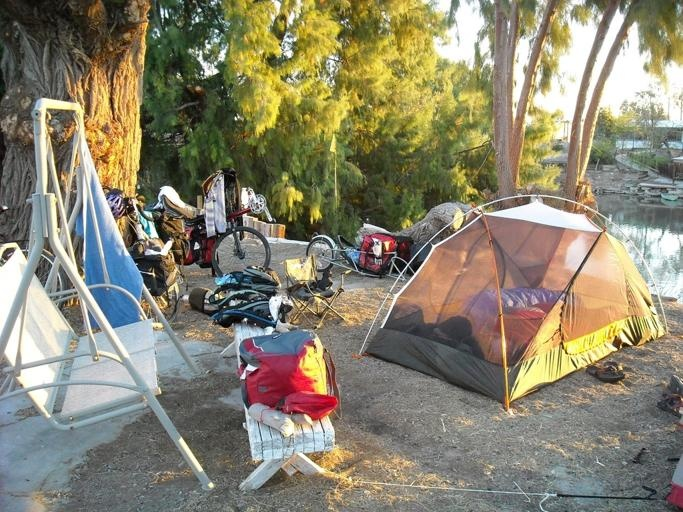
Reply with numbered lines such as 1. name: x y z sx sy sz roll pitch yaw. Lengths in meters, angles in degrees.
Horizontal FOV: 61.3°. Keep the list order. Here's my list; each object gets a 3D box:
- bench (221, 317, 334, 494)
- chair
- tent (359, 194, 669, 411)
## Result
1. bench: -0.556 1.427 5.340 0.792 0.955 1.088 0 14 -12
2. chair: -0.377 0.493 8.275 0.783 0.974 0.753 -6 10 -17
3. tent: 2.219 0.419 7.269 2.814 1.552 2.253 -20 24 -33
